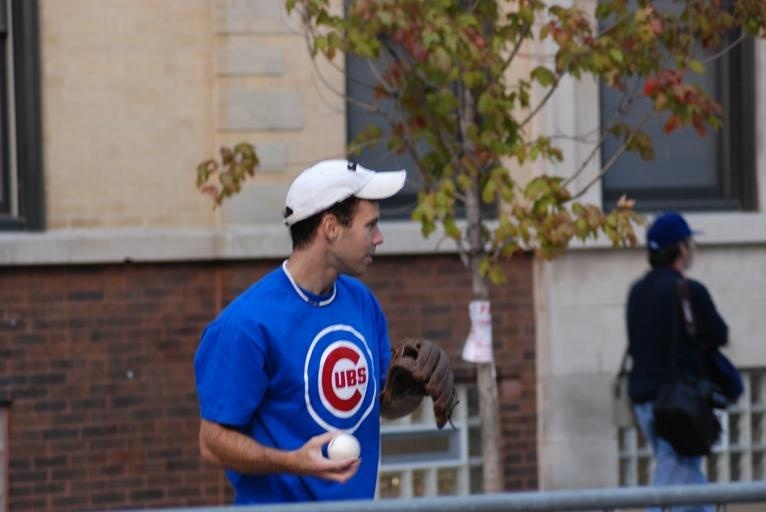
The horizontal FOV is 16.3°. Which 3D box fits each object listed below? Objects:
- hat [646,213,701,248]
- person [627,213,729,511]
[{"bbox_3d":[2.375,-0.157,22.045,0.337,0.194,0.241,-24,10,-16],"label":"hat"},{"bbox_3d":[2.449,0.764,21.987,0.875,2.168,0.410,-2,-1,4],"label":"person"}]
